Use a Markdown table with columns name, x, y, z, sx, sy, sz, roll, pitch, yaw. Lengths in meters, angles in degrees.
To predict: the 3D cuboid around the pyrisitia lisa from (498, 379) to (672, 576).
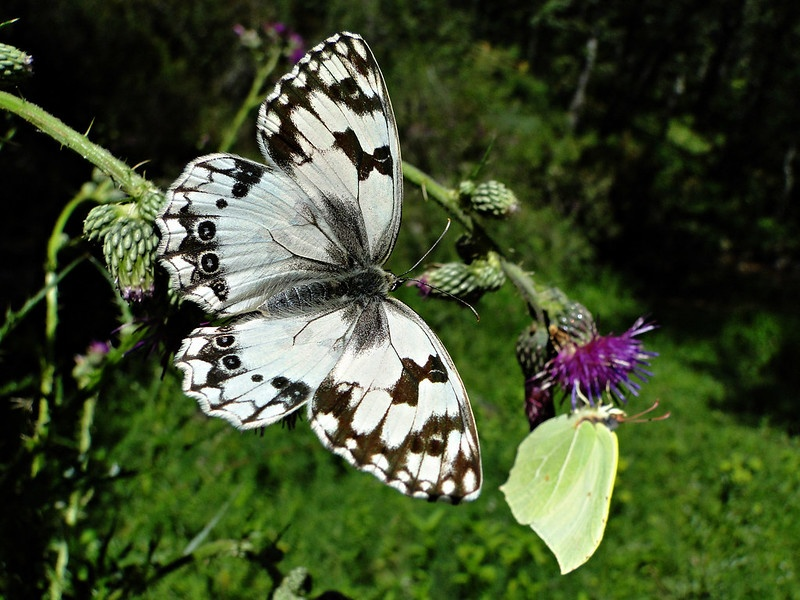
| name | x | y | z | sx | sy | sz | roll | pitch | yaw |
| --- | --- | --- | --- | --- | --- | --- | --- | --- | --- |
| pyrisitia lisa | 0.805 | 0.897 | 4.412 | 0.498 | 0.750 | 0.528 | 21 | 35 | 10 |

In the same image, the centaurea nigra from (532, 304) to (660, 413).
| name | x | y | z | sx | sy | sz | roll | pitch | yaw |
| --- | --- | --- | --- | --- | --- | --- | --- | --- | --- |
| centaurea nigra | 0.986 | 0.324 | 4.356 | 0.550 | 0.487 | 0.237 | 7 | 34 | -11 |
